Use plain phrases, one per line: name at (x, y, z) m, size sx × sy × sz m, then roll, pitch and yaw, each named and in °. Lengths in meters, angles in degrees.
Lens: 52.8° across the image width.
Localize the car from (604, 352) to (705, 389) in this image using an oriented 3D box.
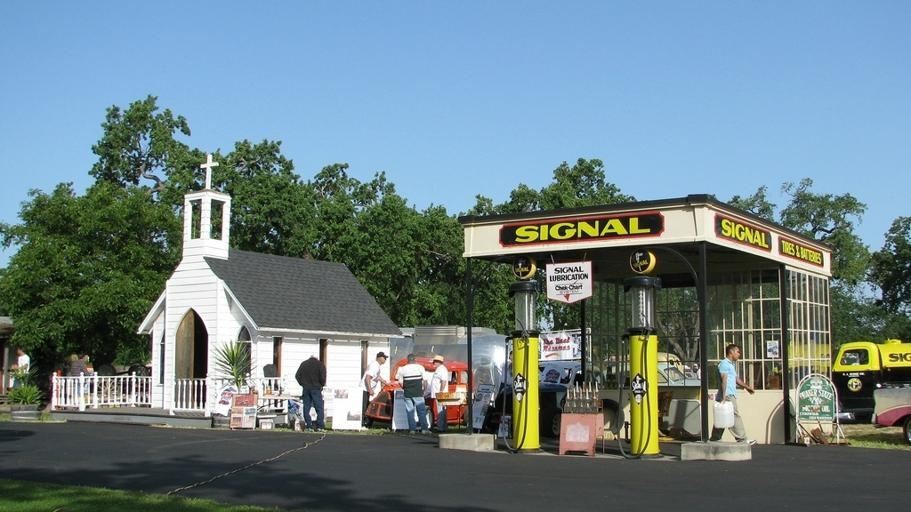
car at (6.568, 3.911, 30.705) m, size 2.378 × 1.065 × 1.363 m, roll -1°, pitch -1°, yaw 1°

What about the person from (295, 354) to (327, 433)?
person at (-5.195, 4.989, 33.251) m, size 0.987 × 2.700 × 1.425 m, roll 2°, pitch -11°, yaw -9°

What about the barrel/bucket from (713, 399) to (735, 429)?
barrel/bucket at (7.813, 4.616, 26.779) m, size 0.565 × 0.695 × 0.224 m, roll 0°, pitch -11°, yaw 1°

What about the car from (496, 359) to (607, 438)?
car at (3.193, 4.893, 31.999) m, size 4.105 × 2.957 × 8.183 m, roll -1°, pitch -11°, yaw 5°

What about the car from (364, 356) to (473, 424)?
car at (-1.000, 5.203, 34.448) m, size 3.949 × 1.806 × 2.184 m, roll 9°, pitch -13°, yaw -41°
